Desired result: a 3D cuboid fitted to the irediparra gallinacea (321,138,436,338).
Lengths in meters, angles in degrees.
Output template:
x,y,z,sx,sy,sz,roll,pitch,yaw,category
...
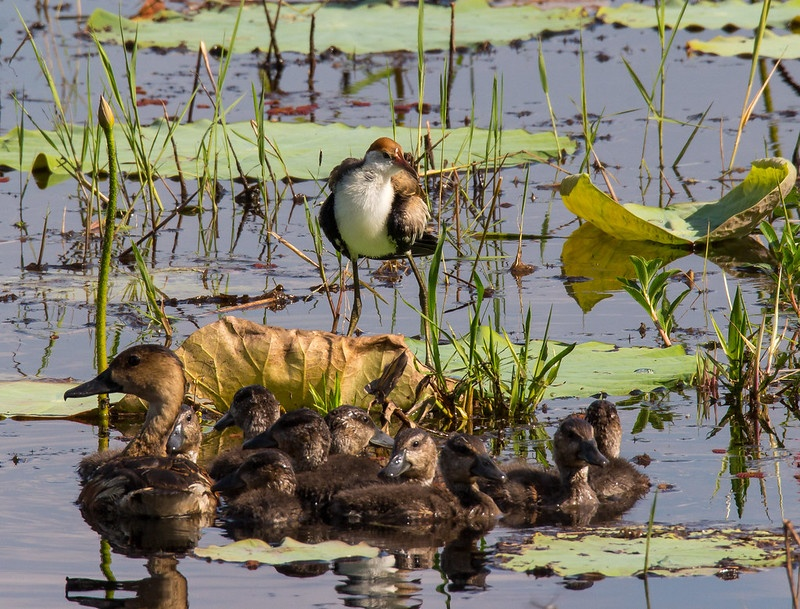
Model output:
x,y,z,sx,sy,sz,roll,pitch,yaw,category
-0.187,-0.887,10.275,0.977,1.031,0.590,-1,7,-8,irediparra gallinacea
